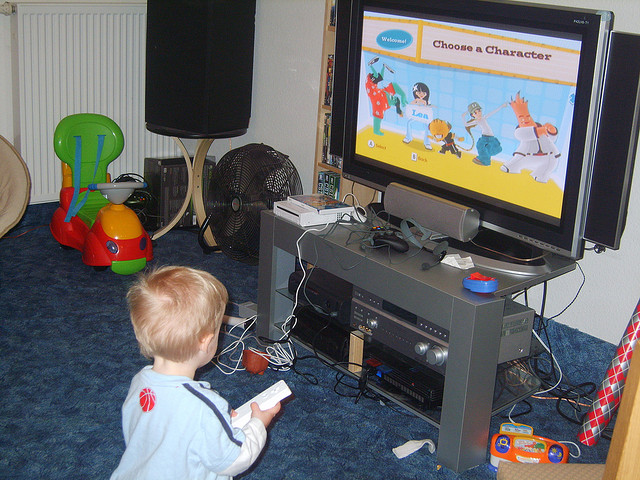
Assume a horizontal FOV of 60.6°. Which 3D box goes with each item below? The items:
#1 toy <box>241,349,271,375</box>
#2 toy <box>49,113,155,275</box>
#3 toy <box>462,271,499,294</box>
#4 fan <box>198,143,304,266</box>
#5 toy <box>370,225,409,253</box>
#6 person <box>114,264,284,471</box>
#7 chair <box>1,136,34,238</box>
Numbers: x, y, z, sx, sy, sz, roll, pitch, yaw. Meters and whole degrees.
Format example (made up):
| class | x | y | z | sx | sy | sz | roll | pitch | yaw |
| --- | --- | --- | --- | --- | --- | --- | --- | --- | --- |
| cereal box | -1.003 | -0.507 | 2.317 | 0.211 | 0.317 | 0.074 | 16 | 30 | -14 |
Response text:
| class | x | y | z | sx | sy | sz | roll | pitch | yaw |
| --- | --- | --- | --- | --- | --- | --- | --- | --- | --- |
| toy | -0.327 | 0.600 | 2.736 | 0.127 | 0.103 | 0.105 | 28 | -7 | -16 |
| toy | -1.509 | -0.325 | 3.753 | 0.525 | 0.939 | 0.852 | -13 | 28 | -38 |
| toy | 0.618 | 0.168 | 2.129 | 0.073 | 0.045 | 0.105 | 1 | 11 | 1 |
| fan | -0.444 | -0.231 | 3.406 | 0.637 | 0.758 | 0.202 | 16 | 24 | 25 |
| toy | 0.317 | 0.000 | 2.487 | 0.115 | 0.035 | 0.125 | 15 | 30 | 14 |
| person | -0.408 | 0.460 | 1.922 | 0.401 | 0.826 | 0.459 | 25 | 37 | 34 |
| chair | -1.962 | -0.340 | 3.481 | 0.134 | 0.592 | 0.198 | 7 | 21 | 8 |
